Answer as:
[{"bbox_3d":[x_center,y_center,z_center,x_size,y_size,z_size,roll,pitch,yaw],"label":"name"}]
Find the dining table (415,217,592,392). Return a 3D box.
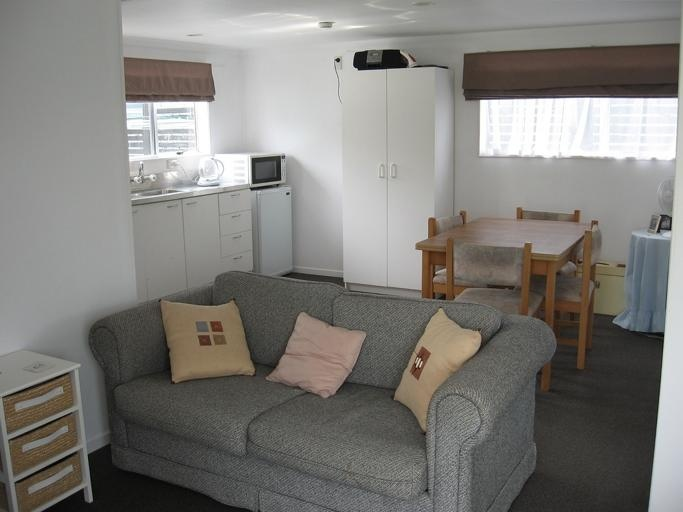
[{"bbox_3d":[1.348,0.032,4.235,1.220,1.222,1.648,3,10,29],"label":"dining table"}]

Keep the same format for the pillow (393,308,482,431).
[{"bbox_3d":[0.482,0.588,2.655,0.278,0.457,0.513,0,6,-11],"label":"pillow"}]

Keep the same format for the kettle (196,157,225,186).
[{"bbox_3d":[-1.615,-1.021,6.282,0.370,0.383,0.307,0,3,10],"label":"kettle"}]

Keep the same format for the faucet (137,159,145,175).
[{"bbox_3d":[-2.229,-0.977,5.754,0.071,0.142,0.170,-7,13,-21],"label":"faucet"}]

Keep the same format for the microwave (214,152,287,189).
[{"bbox_3d":[-1.050,-1.091,6.484,0.672,0.356,0.650,-8,18,-26],"label":"microwave"}]

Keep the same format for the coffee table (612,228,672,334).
[{"bbox_3d":[2.858,0.257,4.675,0.522,0.761,0.608,-2,2,22],"label":"coffee table"}]

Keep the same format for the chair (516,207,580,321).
[{"bbox_3d":[2.048,-0.065,5.199,0.542,0.394,0.871,6,26,21],"label":"chair"}]

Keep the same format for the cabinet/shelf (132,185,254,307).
[{"bbox_3d":[-1.795,-0.175,5.796,1.534,1.117,0.547,-15,25,-37],"label":"cabinet/shelf"}]

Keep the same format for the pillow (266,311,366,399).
[{"bbox_3d":[-0.173,0.536,2.980,0.547,0.565,0.127,-25,28,-28],"label":"pillow"}]
